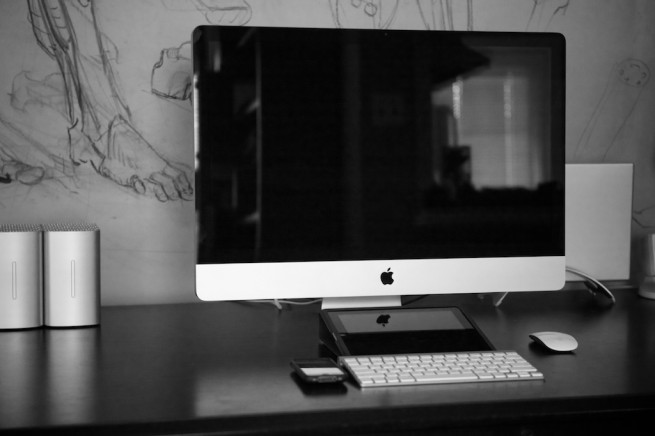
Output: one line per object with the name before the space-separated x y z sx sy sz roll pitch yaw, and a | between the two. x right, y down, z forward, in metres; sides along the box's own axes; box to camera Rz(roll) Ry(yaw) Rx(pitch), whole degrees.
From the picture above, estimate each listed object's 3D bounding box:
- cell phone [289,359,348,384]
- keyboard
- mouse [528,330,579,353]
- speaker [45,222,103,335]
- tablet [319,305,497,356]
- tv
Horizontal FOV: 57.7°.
cell phone | -0.015 0.321 1.249 0.125 0.033 0.106 -1 3 -16
keyboard | 0.240 0.324 1.285 0.426 0.026 0.107 -1 11 -5
mouse | 0.535 0.292 1.407 0.109 0.032 0.076 4 12 21
speaker | -0.677 0.162 1.602 0.138 0.257 0.129 -1 7 -21
tablet | 0.183 0.268 1.412 0.390 0.069 0.154 -1 11 -6
tv | 0.149 -0.146 1.522 0.965 0.667 0.162 -1 11 -6
